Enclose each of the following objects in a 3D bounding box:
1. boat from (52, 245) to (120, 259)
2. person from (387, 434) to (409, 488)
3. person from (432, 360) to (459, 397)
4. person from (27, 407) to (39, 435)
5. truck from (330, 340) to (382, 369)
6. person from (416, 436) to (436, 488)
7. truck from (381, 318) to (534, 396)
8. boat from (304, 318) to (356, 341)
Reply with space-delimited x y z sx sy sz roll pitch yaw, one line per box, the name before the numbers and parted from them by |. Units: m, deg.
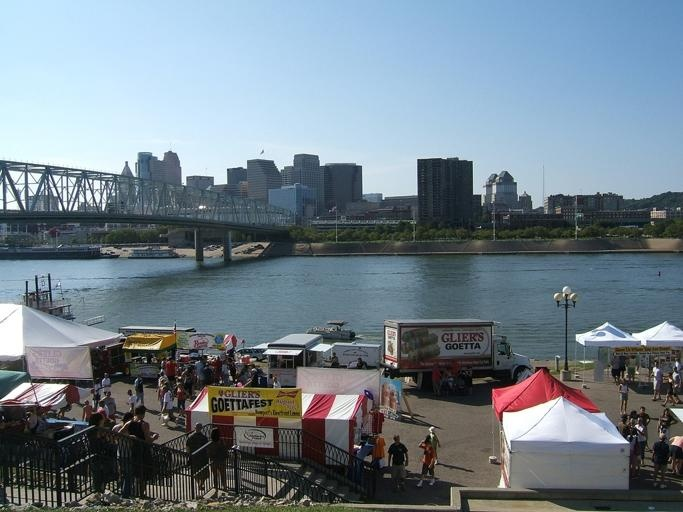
boat | -61.483 -0.548 207.366 13.716 3.024 10.369 -3 15 -20
person | 1.843 6.879 28.834 0.647 1.796 1.257 3 15 4
person | 4.585 5.479 38.280 1.304 1.239 0.407 -1 -23 32
person | -9.625 5.187 26.893 0.328 0.607 0.761 -3 15 -17
truck | 0.845 5.507 44.568 2.291 1.064 1.254 0 -2 8
person | 2.862 6.950 29.027 0.583 1.555 1.076 3 15 5
truck | 4.802 4.347 39.766 8.328 2.944 2.746 -2 3 -10
boat | -0.578 5.515 61.036 2.895 0.927 2.016 0 3 3
